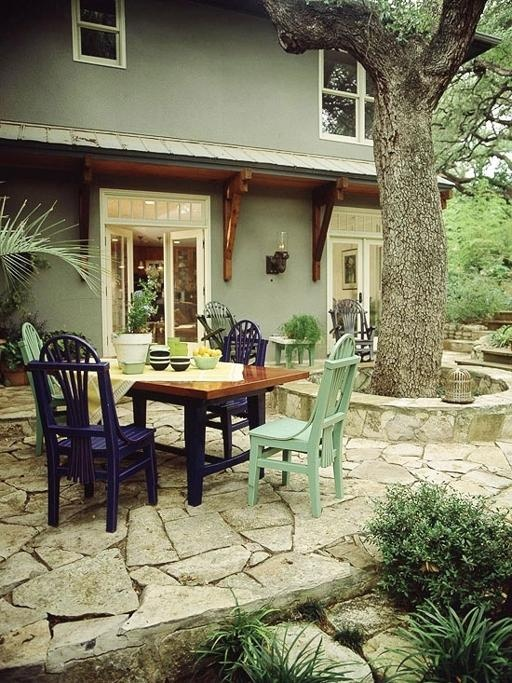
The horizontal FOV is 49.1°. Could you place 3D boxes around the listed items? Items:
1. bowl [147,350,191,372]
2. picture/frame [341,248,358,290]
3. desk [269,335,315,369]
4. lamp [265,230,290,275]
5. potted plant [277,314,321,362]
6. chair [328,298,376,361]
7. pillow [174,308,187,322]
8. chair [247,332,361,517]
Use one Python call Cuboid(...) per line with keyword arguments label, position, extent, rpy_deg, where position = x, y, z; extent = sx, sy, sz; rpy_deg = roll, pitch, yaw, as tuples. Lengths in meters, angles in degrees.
Cuboid(label="bowl", position=(-0.575, 0.129, 3.783), extent=(0.231, 0.111, 0.154), rpy_deg=(1, 5, 25))
Cuboid(label="picture/frame", position=(1.663, -1.267, 9.891), extent=(0.268, 0.686, 0.106), rpy_deg=(2, 5, 23))
Cuboid(label="desk", position=(0.573, 0.118, 7.903), extent=(0.525, 0.376, 0.516), rpy_deg=(1, 3, -20))
Cuboid(label="lamp", position=(0.378, -1.410, 9.004), extent=(0.446, 0.702, 0.283), rpy_deg=(-2, 5, -22))
Cuboid(label="potted plant", position=(0.653, -0.021, 7.869), extent=(0.592, 0.729, 0.659), rpy_deg=(-3, 10, -20))
Cuboid(label="chair", position=(1.426, -0.152, 8.194), extent=(0.619, 0.884, 0.626), rpy_deg=(-1, 0, -18))
Cuboid(label="pillow", position=(-1.169, -0.393, 8.660), extent=(0.187, 0.195, 0.062), rpy_deg=(10, 0, -19))
Cuboid(label="chair", position=(0.288, 0.459, 3.308), extent=(0.568, 1.017, 0.582), rpy_deg=(2, 5, 27))
